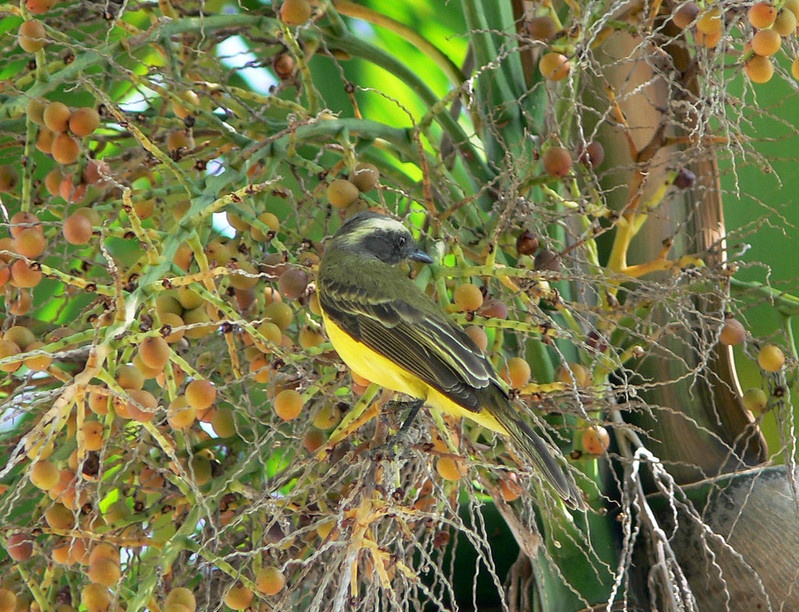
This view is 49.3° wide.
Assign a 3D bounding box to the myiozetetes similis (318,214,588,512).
[{"bbox_3d":[0.202,0.124,3.469,0.444,0.743,1.433,7,12,-42],"label":"myiozetetes similis"}]
